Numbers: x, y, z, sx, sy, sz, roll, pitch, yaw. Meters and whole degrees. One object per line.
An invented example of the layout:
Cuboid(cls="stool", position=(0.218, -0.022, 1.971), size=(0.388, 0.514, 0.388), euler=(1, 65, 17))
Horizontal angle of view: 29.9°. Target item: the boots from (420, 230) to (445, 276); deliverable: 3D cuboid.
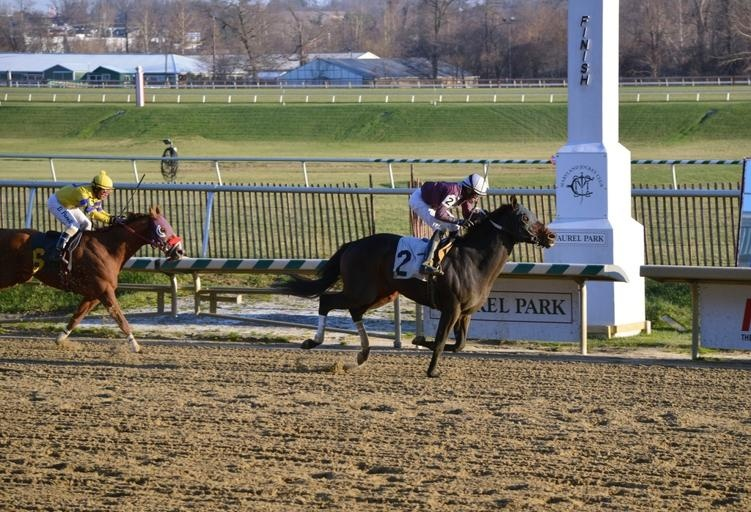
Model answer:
Cuboid(cls="boots", position=(0.860, 0.039, 24.021), size=(0.399, 0.811, 0.201), euler=(-4, -34, -16))

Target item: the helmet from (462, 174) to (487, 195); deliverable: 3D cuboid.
Cuboid(cls="helmet", position=(1.716, -1.234, 24.202), size=(0.408, 0.335, 0.284), euler=(-5, 24, -27))

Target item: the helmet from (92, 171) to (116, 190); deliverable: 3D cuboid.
Cuboid(cls="helmet", position=(-4.870, -1.338, 24.976), size=(0.333, 0.250, 0.400), euler=(-2, 14, -43))
